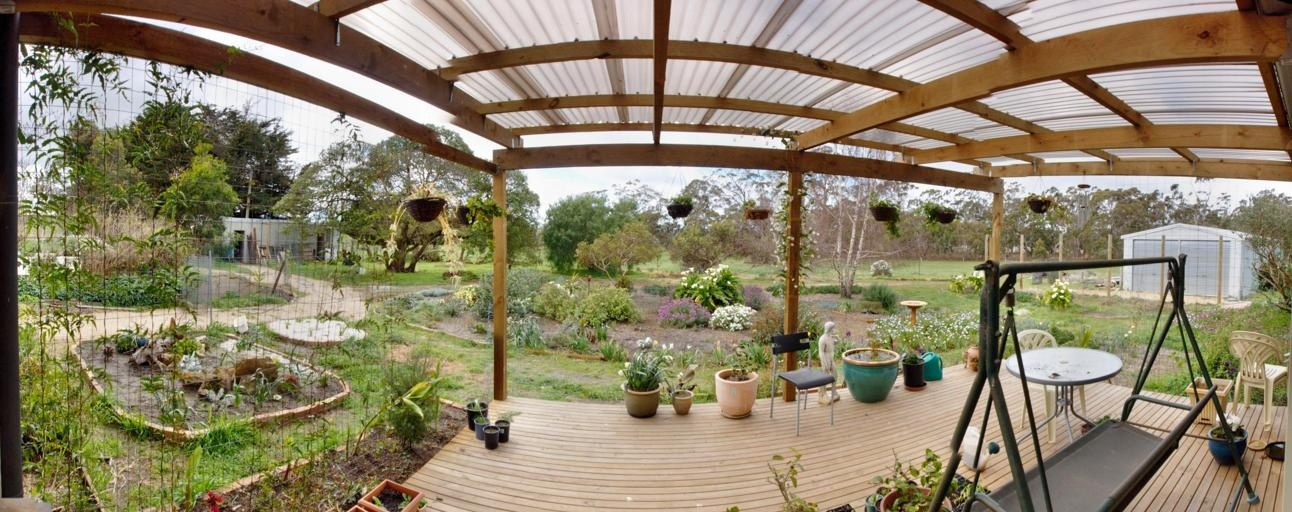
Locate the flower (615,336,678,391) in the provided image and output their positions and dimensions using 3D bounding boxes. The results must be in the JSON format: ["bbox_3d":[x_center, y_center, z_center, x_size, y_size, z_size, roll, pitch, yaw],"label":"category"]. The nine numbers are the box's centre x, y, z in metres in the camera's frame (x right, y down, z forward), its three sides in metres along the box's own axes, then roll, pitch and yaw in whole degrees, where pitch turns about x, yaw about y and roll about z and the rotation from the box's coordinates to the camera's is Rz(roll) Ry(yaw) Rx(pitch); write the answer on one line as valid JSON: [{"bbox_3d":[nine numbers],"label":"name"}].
[{"bbox_3d":[0.043,2.307,14.541,1.238,0.661,1.054,2,6,-8],"label":"flower"}]

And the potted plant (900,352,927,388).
[{"bbox_3d":[5.974,2.549,14.978,0.603,0.787,0.282,1,0,-26],"label":"potted plant"}]

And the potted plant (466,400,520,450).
[{"bbox_3d":[-3.211,3.360,13.637,0.637,0.406,1.260,-1,13,-33],"label":"potted plant"}]

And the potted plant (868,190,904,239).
[{"bbox_3d":[5.436,-0.919,15.381,0.533,0.904,0.974,1,0,25],"label":"potted plant"}]

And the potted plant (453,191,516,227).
[{"bbox_3d":[-3.507,-0.945,13.835,0.903,0.423,0.830,-12,21,-34],"label":"potted plant"}]

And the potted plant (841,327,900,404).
[{"bbox_3d":[5.102,2.506,14.948,1.475,1.265,1.275,0,-1,-2],"label":"potted plant"}]

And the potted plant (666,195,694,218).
[{"bbox_3d":[0.729,-1.042,14.449,0.572,0.367,0.506,0,-2,6],"label":"potted plant"}]
